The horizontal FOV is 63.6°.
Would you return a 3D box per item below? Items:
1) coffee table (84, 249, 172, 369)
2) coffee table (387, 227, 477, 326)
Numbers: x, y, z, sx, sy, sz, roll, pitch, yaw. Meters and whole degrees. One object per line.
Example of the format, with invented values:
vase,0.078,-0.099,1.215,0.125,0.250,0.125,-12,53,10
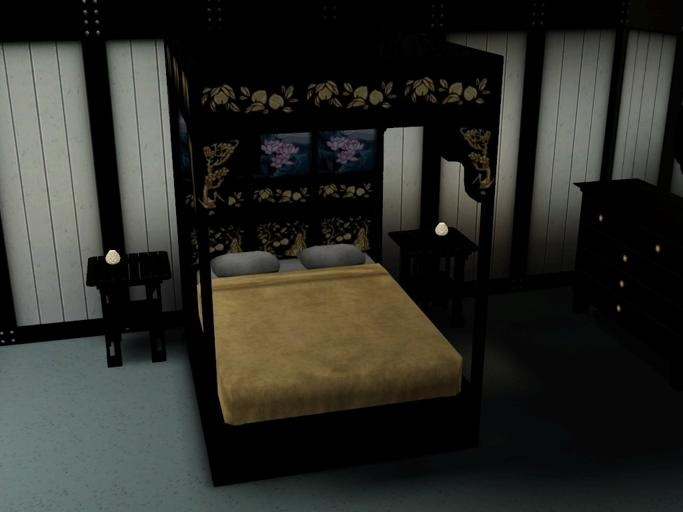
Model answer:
coffee table,-2.262,0.591,6.389,1.103,1.254,1.152,-4,22,-10
coffee table,1.185,0.150,7.179,1.146,1.194,1.092,-5,22,-11
